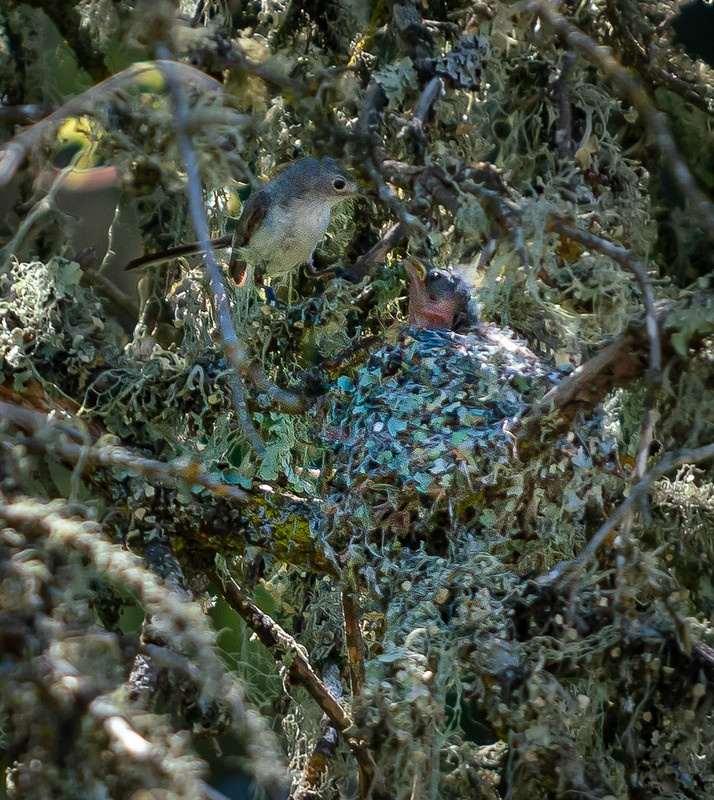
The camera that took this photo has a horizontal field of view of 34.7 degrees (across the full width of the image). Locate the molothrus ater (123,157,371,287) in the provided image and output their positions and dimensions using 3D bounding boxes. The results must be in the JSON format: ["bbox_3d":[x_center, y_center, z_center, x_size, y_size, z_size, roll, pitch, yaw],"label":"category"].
[{"bbox_3d":[-0.257,-0.414,2.751,0.679,0.276,0.228,4,7,36],"label":"molothrus ater"}]
